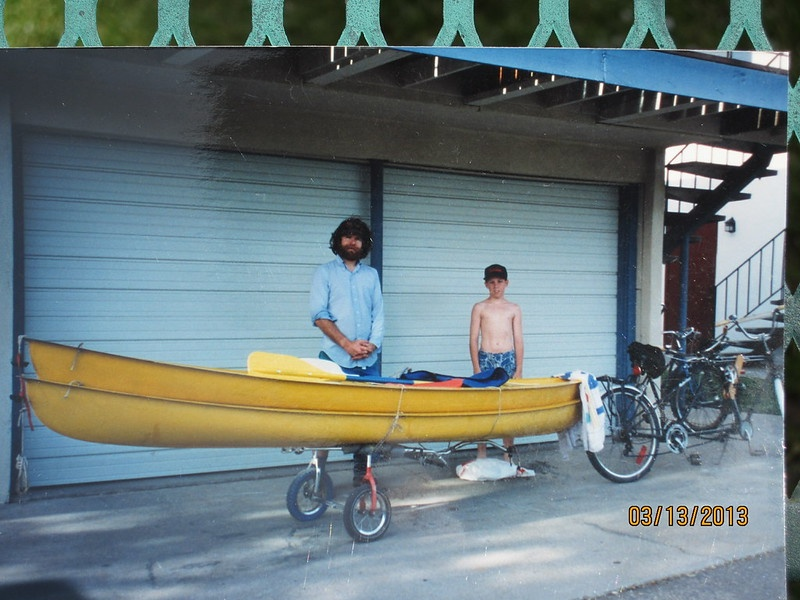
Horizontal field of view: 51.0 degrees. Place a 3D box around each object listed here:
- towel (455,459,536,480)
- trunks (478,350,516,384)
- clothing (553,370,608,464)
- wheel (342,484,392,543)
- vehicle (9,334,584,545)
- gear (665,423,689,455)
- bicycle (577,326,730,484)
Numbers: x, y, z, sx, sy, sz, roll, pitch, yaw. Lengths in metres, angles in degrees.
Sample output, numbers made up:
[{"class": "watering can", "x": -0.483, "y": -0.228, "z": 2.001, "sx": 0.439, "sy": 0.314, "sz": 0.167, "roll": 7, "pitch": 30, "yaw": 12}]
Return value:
[{"class": "towel", "x": 0.502, "y": 0.883, "z": 4.358, "sx": 0.404, "sy": 0.088, "sz": 0.142, "roll": 2, "pitch": -3, "yaw": -10}, {"class": "trunks", "x": 0.540, "y": 0.394, "z": 4.591, "sx": 0.256, "sy": 0.180, "sz": 0.137, "roll": -1, "pitch": 4, "yaw": 4}, {"class": "clothing", "x": 0.982, "y": 0.612, "z": 4.494, "sx": 0.123, "sy": 0.403, "sz": 0.313, "roll": 2, "pitch": -2, "yaw": 39}, {"class": "wheel", "x": -0.166, "y": 1.046, "z": 4.093, "sx": 0.286, "sy": 0.291, "sz": 0.099, "roll": 4, "pitch": -7, "yaw": -30}, {"class": "vehicle", "x": -0.140, "y": 0.767, "z": 4.556, "sx": 3.433, "sy": 1.031, "sz": 0.862, "roll": 5, "pitch": -8, "yaw": -17}, {"class": "gear", "x": 1.506, "y": 0.747, "z": 4.595, "sx": 0.158, "sy": 0.152, "sz": 0.057, "roll": -18, "pitch": 12, "yaw": -20}, {"class": "bicycle", "x": 1.337, "y": 0.589, "z": 4.831, "sx": 1.149, "sy": 0.670, "sz": 0.475, "roll": -11, "pitch": 2, "yaw": 5}]
